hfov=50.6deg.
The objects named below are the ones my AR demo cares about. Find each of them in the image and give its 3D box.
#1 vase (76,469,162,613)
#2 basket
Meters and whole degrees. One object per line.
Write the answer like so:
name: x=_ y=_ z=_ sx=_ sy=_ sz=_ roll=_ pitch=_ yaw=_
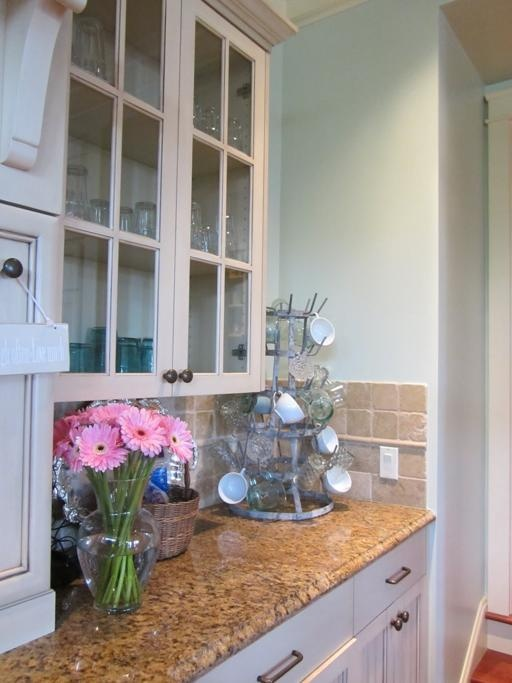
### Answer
vase: x=-0.237 y=0.343 z=1.042 sx=0.173 sy=0.312 sz=0.193 roll=1 pitch=-2 yaw=-12
basket: x=-0.213 y=0.375 z=1.240 sx=0.145 sy=0.204 sz=0.200 roll=-4 pitch=-9 yaw=9
